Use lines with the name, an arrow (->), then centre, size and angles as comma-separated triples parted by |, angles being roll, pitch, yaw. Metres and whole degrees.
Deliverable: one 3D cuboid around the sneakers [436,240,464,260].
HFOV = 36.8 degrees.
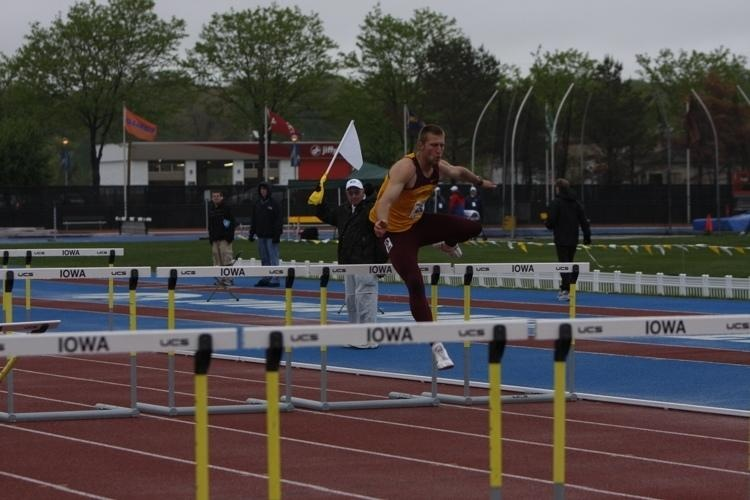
sneakers -> 1.471, 0.018, 21.366 | 0.657, 0.250, 0.294 | 12, -2, -26
